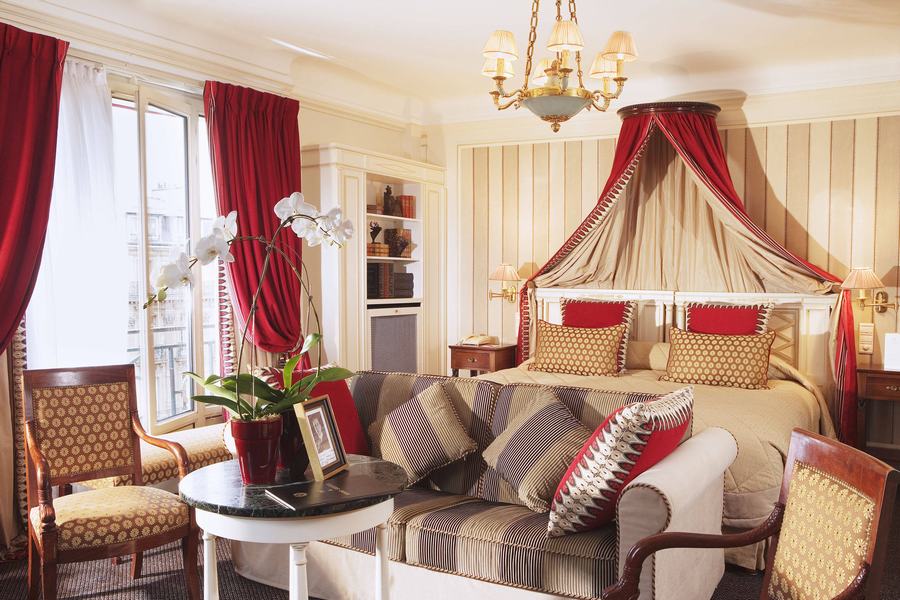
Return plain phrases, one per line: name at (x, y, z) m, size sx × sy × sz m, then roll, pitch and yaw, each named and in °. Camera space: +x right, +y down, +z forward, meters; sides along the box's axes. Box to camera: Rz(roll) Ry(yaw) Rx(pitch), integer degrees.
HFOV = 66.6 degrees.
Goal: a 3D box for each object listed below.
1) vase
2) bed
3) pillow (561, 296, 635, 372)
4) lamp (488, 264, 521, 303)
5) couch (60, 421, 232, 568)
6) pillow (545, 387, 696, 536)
vase at (-0.818, 0.646, 3.156) m, size 0.335 × 0.295 × 0.312 m, roll -2°, pitch 1°, yaw -28°
bed at (1.938, 0.651, 5.226) m, size 2.103 × 1.307 × 2.108 m, roll 0°, pitch -1°, yaw 32°
pillow at (1.320, 0.302, 6.156) m, size 0.653 × 0.590 × 0.194 m, roll 3°, pitch -14°, yaw 36°
lamp at (0.578, -0.170, 6.992) m, size 0.364 × 0.336 × 0.357 m, roll -3°, pitch 7°, yaw -21°
couch at (-1.713, 1.092, 3.797) m, size 0.616 × 0.468 × 1.036 m, roll 2°, pitch 4°, yaw 40°
pillow at (0.901, 0.763, 3.626) m, size 0.585 × 0.804 × 1.016 m, roll 3°, pitch -11°, yaw 29°
